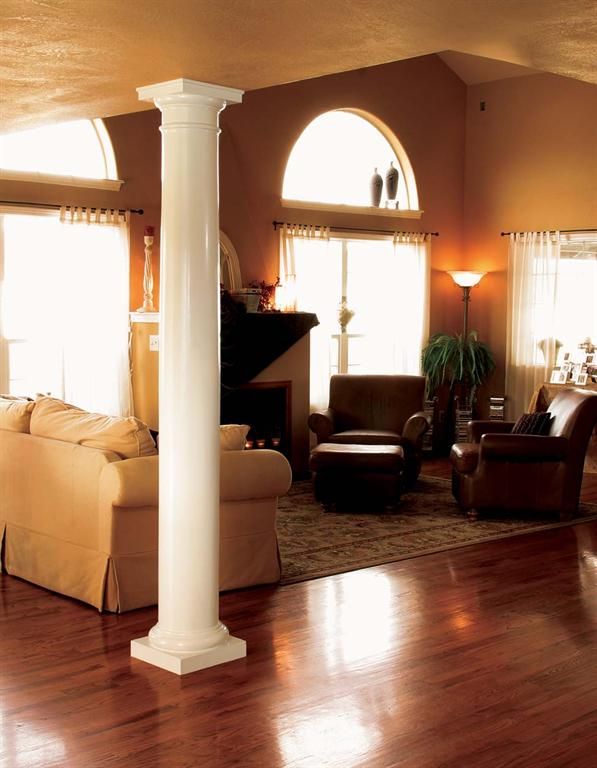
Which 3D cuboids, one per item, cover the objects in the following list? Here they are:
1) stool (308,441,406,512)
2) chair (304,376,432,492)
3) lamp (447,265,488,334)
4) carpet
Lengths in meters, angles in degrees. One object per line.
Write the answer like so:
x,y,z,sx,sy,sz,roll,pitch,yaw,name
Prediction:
0.519,0.641,5.343,0.647,0.473,0.501,0,1,4,stool
0.600,0.412,5.970,1.046,1.299,1.077,0,-4,13,chair
2.094,-1.064,8.185,0.442,0.856,0.637,4,3,15,lamp
0.533,1.024,4.920,2.550,0.133,1.730,2,4,-34,carpet
